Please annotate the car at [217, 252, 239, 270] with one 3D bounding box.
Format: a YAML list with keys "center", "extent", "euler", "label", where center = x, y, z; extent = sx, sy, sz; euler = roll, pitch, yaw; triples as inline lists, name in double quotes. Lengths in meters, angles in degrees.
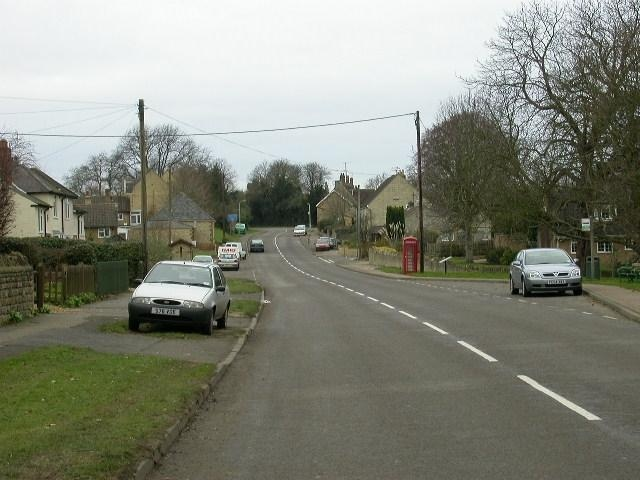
- center: [-8.255, 2.094, 63.197]
  extent: [1.300, 1.225, 3.250]
  euler: [1, 7, -2]
  label: "car"

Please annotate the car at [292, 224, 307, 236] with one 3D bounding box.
- center: [-3.783, -1.624, 129.021]
  extent: [1.395, 1.675, 2.976]
  euler: [-1, -6, 1]
  label: "car"

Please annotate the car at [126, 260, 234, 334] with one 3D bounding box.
- center: [-3.597, 1.528, 17.618]
  extent: [1.993, 1.786, 2.594]
  euler: [1, 2, 4]
  label: "car"

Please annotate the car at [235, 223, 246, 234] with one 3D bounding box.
- center: [-15.462, -2.069, 134.397]
  extent: [1.316, 2.664, 2.567]
  euler: [-1, 3, 14]
  label: "car"

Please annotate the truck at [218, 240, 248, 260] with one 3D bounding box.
- center: [-9.468, 1.161, 78.839]
  extent: [2.103, 2.461, 4.147]
  euler: [1, 6, 10]
  label: "truck"
